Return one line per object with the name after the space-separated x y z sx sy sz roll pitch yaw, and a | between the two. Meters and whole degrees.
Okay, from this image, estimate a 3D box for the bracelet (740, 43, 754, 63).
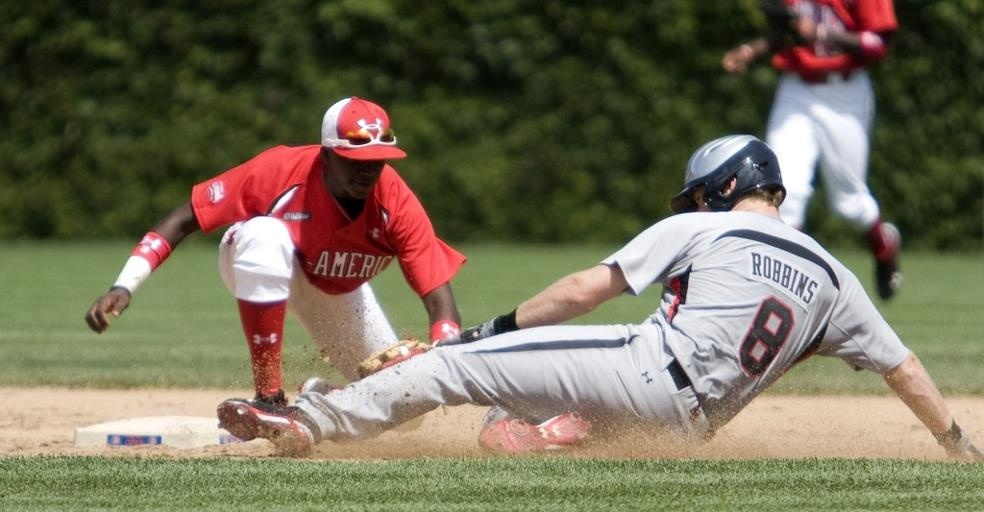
3.884 -3.068 26.584 0.240 0.241 0.246 23 2 17 | bracelet

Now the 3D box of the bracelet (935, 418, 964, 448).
6.366 2.460 24.279 0.398 0.265 0.320 -8 2 -38 | bracelet
